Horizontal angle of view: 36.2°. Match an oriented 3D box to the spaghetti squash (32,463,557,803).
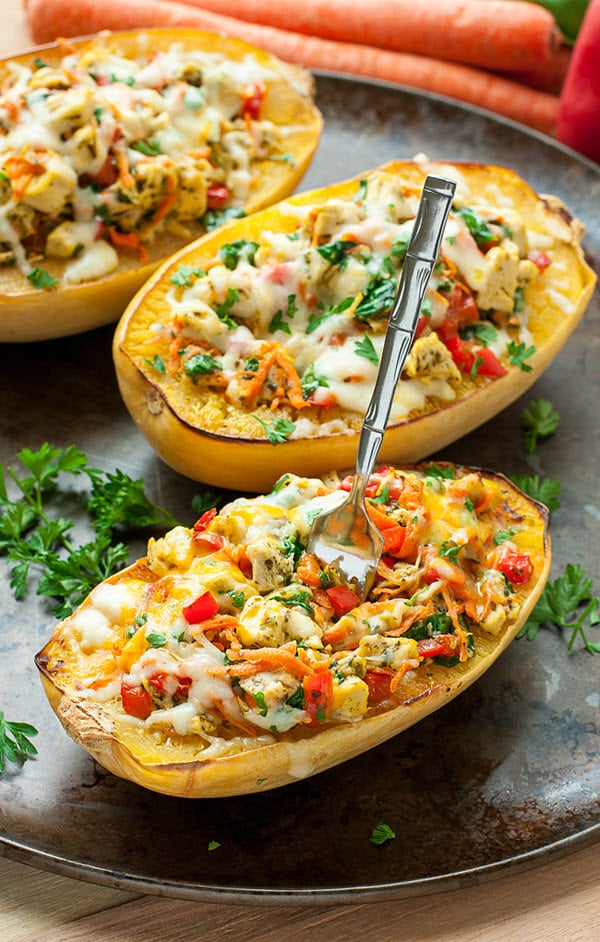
[{"bbox_3d":[0.067,0.210,1.747,0.944,0.518,0.321,-24,94,-19],"label":"spaghetti squash"}]
